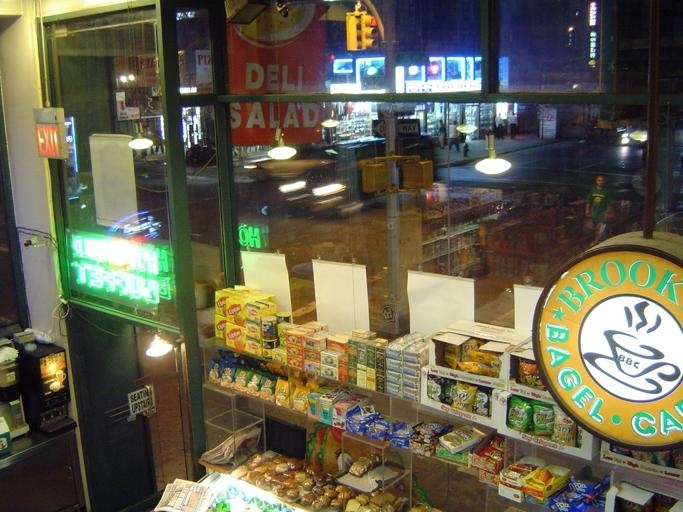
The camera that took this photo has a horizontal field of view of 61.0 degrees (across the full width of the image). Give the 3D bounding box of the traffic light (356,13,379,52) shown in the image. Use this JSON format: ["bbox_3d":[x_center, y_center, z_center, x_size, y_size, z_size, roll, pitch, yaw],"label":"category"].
[{"bbox_3d":[0.215,-1.843,4.716,0.205,0.285,0.040,9,20,39],"label":"traffic light"}]
